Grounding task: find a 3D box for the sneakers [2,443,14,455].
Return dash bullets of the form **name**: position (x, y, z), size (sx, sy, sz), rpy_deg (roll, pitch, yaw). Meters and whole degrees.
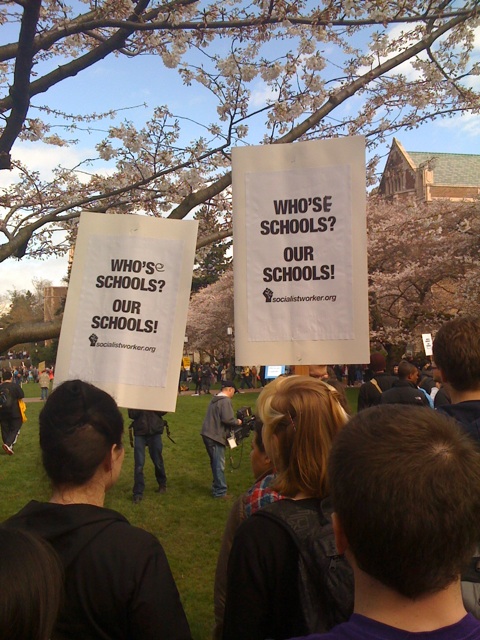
- **sneakers**: position (-5.343, 2.980, 11.861), size (0.125, 0.306, 0.133), rpy_deg (-28, 11, 10)
